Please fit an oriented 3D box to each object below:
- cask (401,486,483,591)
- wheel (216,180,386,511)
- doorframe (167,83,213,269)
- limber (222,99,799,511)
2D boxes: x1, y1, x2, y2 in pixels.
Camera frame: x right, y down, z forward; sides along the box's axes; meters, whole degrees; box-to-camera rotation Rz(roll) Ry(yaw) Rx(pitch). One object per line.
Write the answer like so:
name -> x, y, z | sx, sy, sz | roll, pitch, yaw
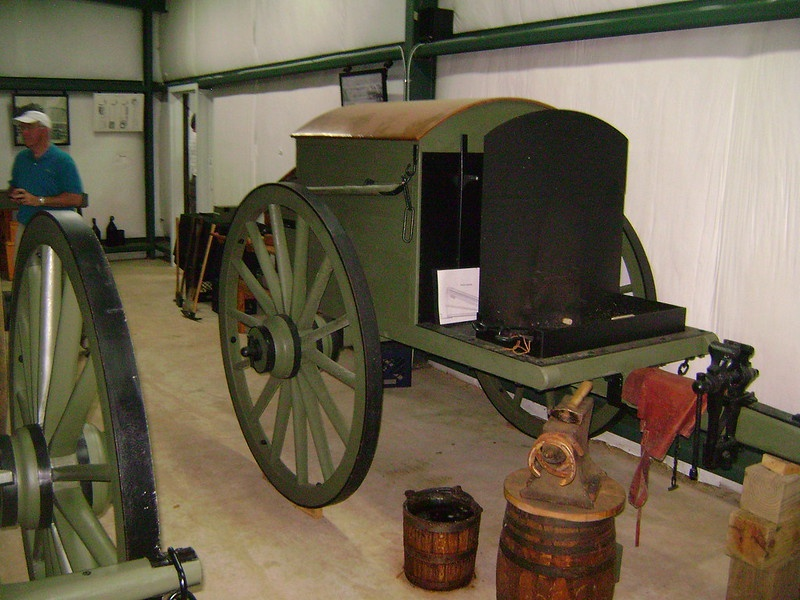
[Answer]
cask -> 0.180, 1.034, 3.017 | 0.327, 0.365, 0.312 | 3, 14, 7
wheel -> -0.477, 0.266, 3.393 | 0.600, 1.546, 1.435 | -11, -5, -29
doorframe -> -2.821, -1.991, 9.404 | 0.167, 2.352, 0.802 | -7, 16, -34
limber -> 0.156, 0.045, 3.263 | 1.675, 1.537, 2.382 | -7, 14, -34
